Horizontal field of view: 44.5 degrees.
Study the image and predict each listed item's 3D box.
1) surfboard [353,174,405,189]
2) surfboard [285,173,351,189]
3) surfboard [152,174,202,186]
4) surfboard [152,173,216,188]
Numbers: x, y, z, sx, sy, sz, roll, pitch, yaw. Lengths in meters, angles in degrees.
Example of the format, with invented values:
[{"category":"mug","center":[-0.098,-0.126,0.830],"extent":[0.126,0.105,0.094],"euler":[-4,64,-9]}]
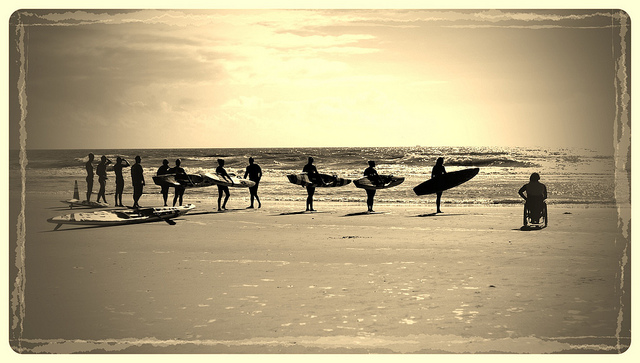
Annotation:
[{"category":"surfboard","center":[2.791,0.002,36.108],"extent":[0.768,0.458,3.624],"euler":[38,18,22]},{"category":"surfboard","center":[-0.020,-0.112,38.059],"extent":[3.611,0.899,0.339],"euler":[2,-39,-38]},{"category":"surfboard","center":[-6.477,-0.068,35.919],"extent":[1.545,0.632,3.411],"euler":[0,-3,4]},{"category":"surfboard","center":[-6.190,-0.055,35.824],"extent":[1.590,0.748,3.545],"euler":[-1,-3,16]}]
